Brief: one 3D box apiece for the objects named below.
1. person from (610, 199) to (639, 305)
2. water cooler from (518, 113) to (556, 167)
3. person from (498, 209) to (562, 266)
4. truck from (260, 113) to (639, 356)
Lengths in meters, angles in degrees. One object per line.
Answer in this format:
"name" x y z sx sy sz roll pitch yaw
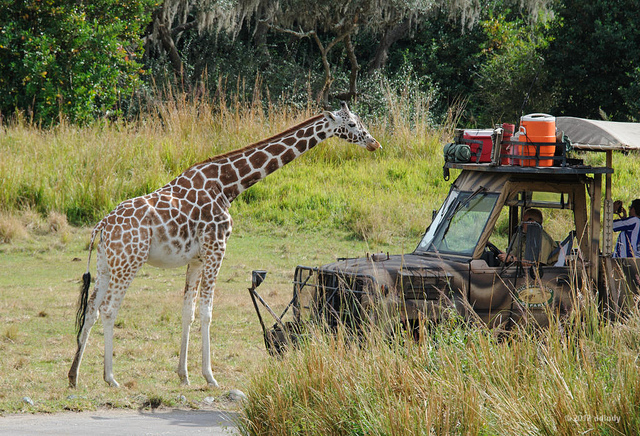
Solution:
"person" 4.438 0.540 14.272 0.417 1.570 0.614 -9 -37 29
"water cooler" 3.151 -1.129 14.146 0.508 0.804 0.496 3 3 42
"person" 3.033 0.348 13.942 0.626 1.026 0.915 10 11 38
"truck" 2.207 0.216 14.054 5.036 3.520 2.935 0 -2 -16
